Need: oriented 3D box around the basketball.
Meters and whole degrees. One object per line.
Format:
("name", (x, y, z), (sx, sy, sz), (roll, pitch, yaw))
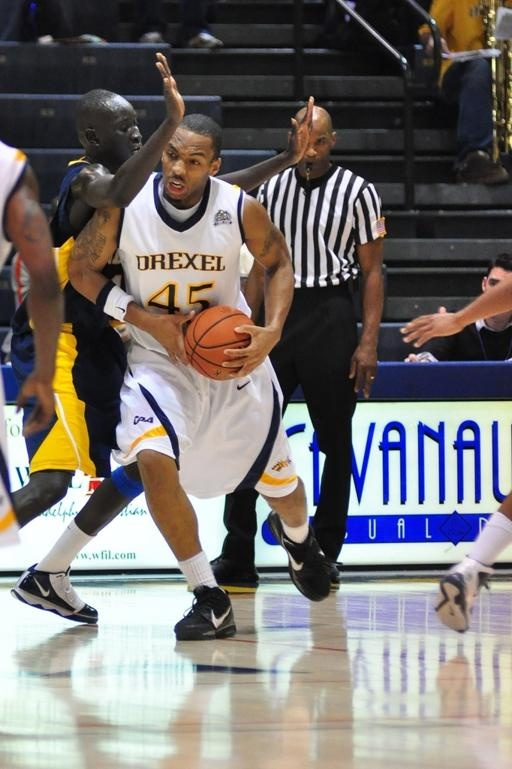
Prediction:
("basketball", (-0.091, -0.099, 2.170), (0.155, 0.167, 0.162), (3, 31, 13))
